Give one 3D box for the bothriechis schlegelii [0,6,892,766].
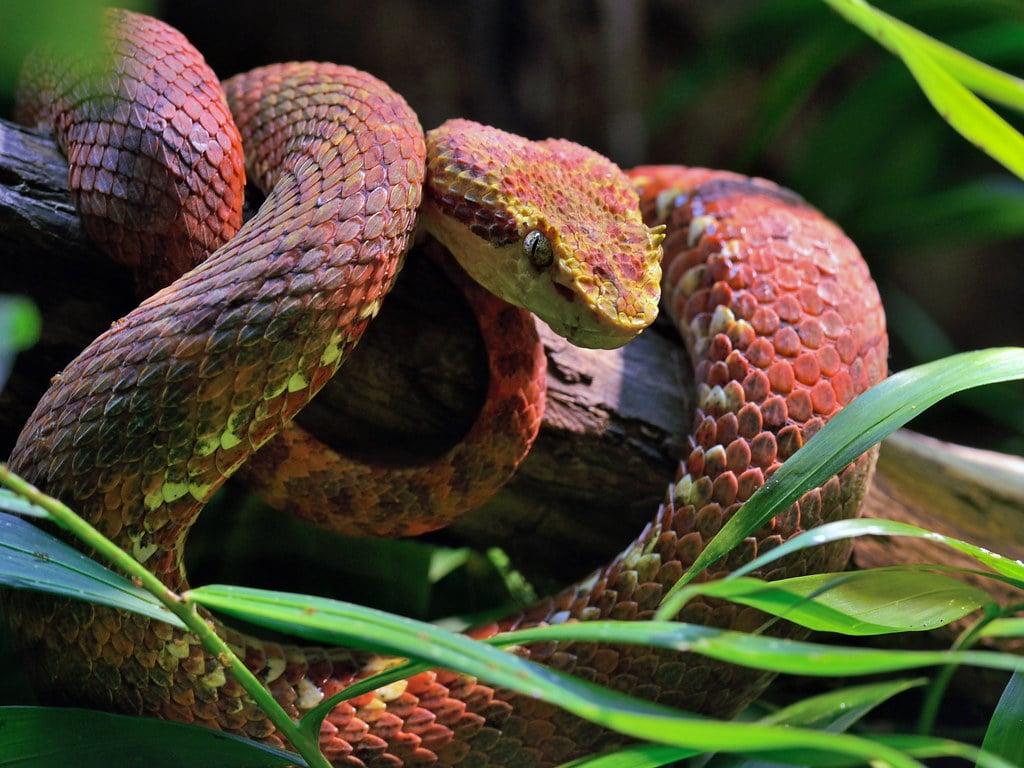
[{"bbox_3d":[-0.196,0.032,2.191,1.699,0.939,1.167,5,42,-9],"label":"bothriechis schlegelii"}]
